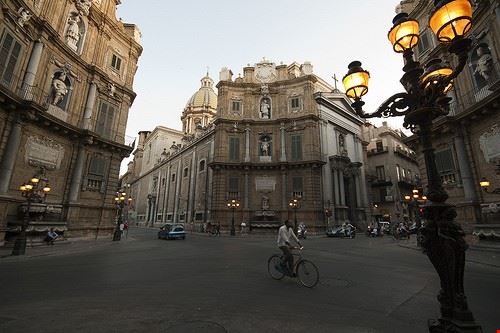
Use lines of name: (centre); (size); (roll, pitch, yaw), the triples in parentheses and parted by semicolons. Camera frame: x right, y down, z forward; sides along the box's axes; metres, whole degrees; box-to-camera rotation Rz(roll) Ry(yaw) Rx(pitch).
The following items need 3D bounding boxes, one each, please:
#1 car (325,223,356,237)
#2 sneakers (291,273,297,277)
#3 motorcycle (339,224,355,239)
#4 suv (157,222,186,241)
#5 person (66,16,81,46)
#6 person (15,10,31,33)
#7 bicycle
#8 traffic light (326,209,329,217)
car: (10.005, 7.097, 29.642); (2.700, 1.148, 1.594); (9, -18, -29)
sneakers: (1.657, 4.267, 10.670); (0.168, 0.127, 0.308); (1, -24, -14)
motorcycle: (10.341, 7.107, 29.416); (1.828, 0.896, 1.128); (1, -7, -5)
suv: (-7.610, 6.386, 26.632); (1.627, 1.116, 2.617); (12, -15, -42)
person: (-13.728, -10.551, 21.671); (0.645, 2.923, 1.070); (0, -14, -2)
person: (-14.082, -9.087, 17.144); (0.569, 1.462, 0.675); (11, -18, -38)
bicycle: (1.752, 4.271, 11.380); (2.638, 1.512, 1.182); (-12, -21, 36)
traffic light: (8.742, 5.268, 30.910); (0.441, 0.659, 0.673); (-4, -14, 14)
